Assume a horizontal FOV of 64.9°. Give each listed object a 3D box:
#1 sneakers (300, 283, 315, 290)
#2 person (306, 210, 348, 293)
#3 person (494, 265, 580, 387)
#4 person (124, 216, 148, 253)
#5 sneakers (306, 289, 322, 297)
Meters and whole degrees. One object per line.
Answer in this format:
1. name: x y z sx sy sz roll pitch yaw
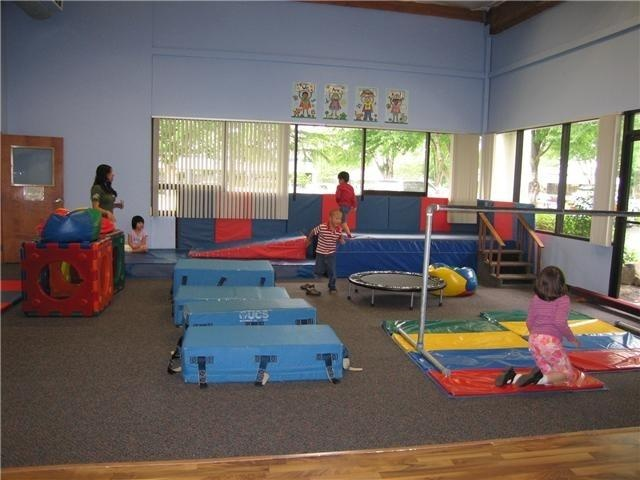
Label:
1. sneakers: -0.199 0.691 7.527 0.086 0.087 0.228 1 2 -37
2. person: 0.047 0.128 7.588 0.555 1.272 0.969 1 9 1
3. person: 1.979 0.768 4.409 0.840 1.063 0.277 0 9 -2
4. person: -3.216 -0.124 8.817 0.338 0.638 0.890 -3 10 -19
5. sneakers: -0.098 0.761 7.288 0.164 0.061 0.088 1 4 4
